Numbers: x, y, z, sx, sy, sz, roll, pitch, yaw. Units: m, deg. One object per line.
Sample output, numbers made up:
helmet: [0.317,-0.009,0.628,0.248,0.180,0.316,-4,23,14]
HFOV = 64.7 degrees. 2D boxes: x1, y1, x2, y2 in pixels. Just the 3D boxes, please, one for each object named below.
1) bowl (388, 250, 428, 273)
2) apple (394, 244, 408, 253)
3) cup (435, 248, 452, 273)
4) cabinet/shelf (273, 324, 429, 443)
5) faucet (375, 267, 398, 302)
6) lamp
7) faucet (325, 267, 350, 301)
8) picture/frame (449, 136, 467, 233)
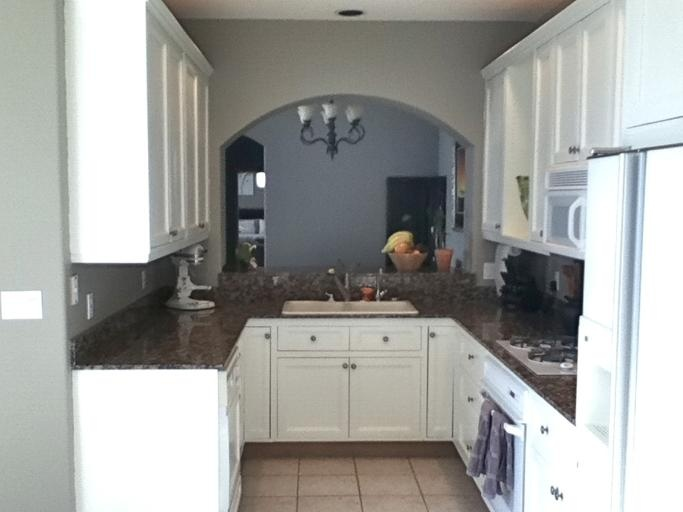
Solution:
bowl: [0.533,0.045,4.343,0.284,0.152,0.305,-1,7,0]
apple: [0.488,-0.062,4.364,0.073,0.033,0.076,-6,11,11]
cup: [0.829,0.030,4.374,0.158,0.185,0.158,0,0,0]
cabinet/shelf: [0.059,0.787,3.972,1.119,0.877,0.679,0,12,-4]
faucet: [0.328,0.216,4.098,0.163,0.241,0.172,-3,8,-17]
lamp: [-0.076,-1.004,4.377,0.602,0.534,0.602,4,7,45]
faucet: [-0.018,0.225,4.116,0.172,0.207,0.322,-3,8,-16]
picture/frame: [1.299,-0.813,6.048,0.133,0.945,0.543,13,27,22]
